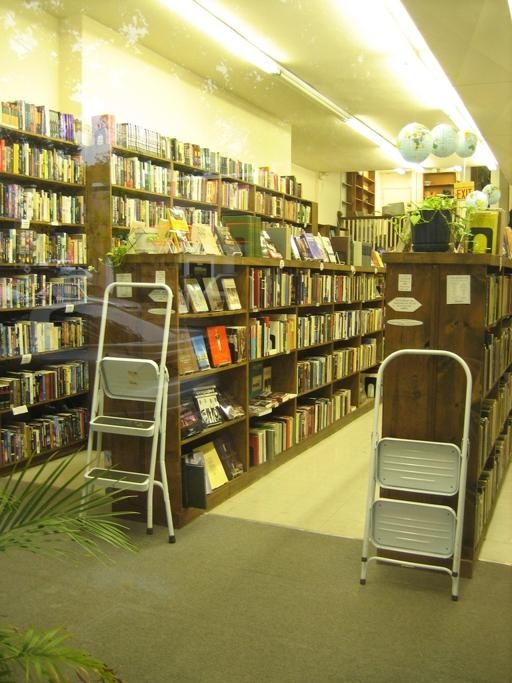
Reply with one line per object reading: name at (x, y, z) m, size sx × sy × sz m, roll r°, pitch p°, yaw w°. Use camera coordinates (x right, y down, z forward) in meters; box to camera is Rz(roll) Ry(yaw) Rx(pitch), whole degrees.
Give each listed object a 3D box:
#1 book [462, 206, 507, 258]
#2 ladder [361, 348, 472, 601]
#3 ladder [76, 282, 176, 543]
book at (1.038, -0.498, 2.520) m, size 0.112 × 0.219 × 0.568 m, roll 5°, pitch 1°, yaw 29°
ladder at (0.624, 0.477, 2.134) m, size 0.375 × 0.916 × 0.399 m, roll 4°, pitch 1°, yaw 11°
ladder at (-0.524, 0.292, 2.475) m, size 0.410 × 1.002 × 0.553 m, roll 4°, pitch 1°, yaw -17°
